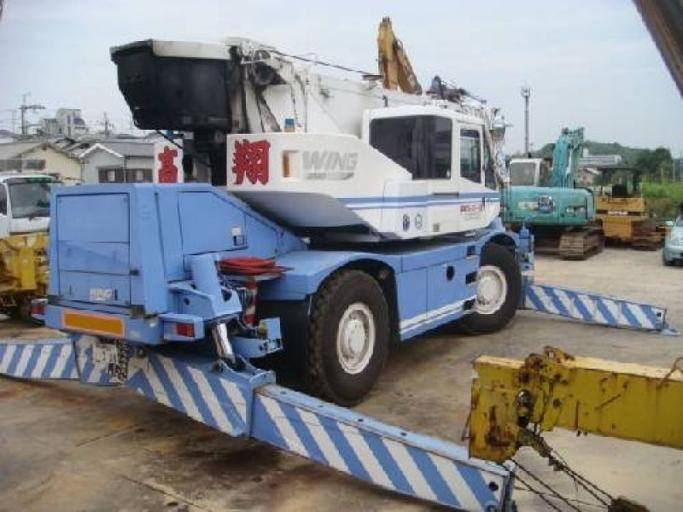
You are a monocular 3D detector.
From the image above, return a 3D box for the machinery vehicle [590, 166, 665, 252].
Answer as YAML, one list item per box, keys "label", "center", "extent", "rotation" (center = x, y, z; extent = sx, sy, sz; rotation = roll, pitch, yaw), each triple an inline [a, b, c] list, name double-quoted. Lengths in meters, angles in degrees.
- label: "machinery vehicle"
  center: [9.083, -1.813, 23.084]
  extent: [1.935, 2.635, 3.700]
  rotation: [5, 11, 17]

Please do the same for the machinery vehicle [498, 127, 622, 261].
- label: "machinery vehicle"
  center: [6.190, -1.866, 20.673]
  extent: [4.065, 3.807, 2.962]
  rotation: [-9, 3, -42]

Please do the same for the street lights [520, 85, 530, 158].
- label: "street lights"
  center: [11.470, -8.352, 43.098]
  extent: [0.643, 4.068, 0.651]
  rotation: [0, 6, 30]

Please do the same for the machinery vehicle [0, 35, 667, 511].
- label: "machinery vehicle"
  center: [-0.359, -0.174, 7.966]
  extent: [4.666, 2.273, 4.875]
  rotation: [4, 7, 30]
